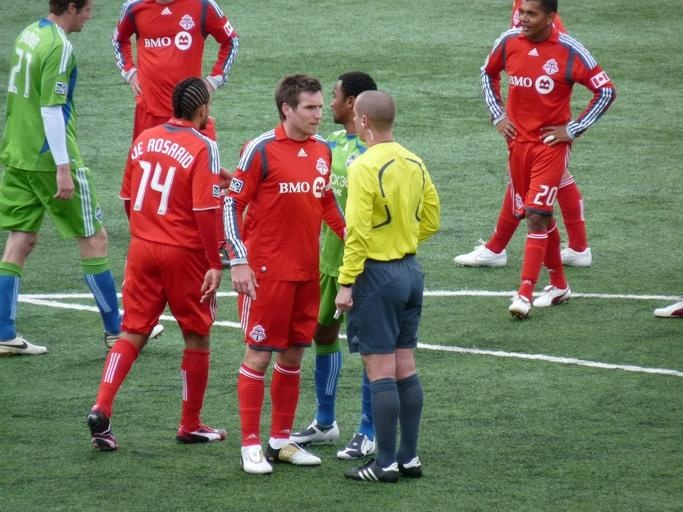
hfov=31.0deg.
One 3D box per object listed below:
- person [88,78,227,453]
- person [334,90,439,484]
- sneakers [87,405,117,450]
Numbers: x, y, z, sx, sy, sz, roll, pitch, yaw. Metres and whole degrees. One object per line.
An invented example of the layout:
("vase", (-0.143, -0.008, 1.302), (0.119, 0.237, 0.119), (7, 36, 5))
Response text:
("person", (-1.302, 0.051, 9.025), (0.894, 2.636, 0.799), (-1, 15, -11))
("person", (0.325, 0.211, 8.770), (0.654, 2.676, 0.815), (3, 15, 4))
("sneakers", (-1.697, 1.259, 8.898), (0.141, 0.382, 0.187), (-9, 42, 19))
